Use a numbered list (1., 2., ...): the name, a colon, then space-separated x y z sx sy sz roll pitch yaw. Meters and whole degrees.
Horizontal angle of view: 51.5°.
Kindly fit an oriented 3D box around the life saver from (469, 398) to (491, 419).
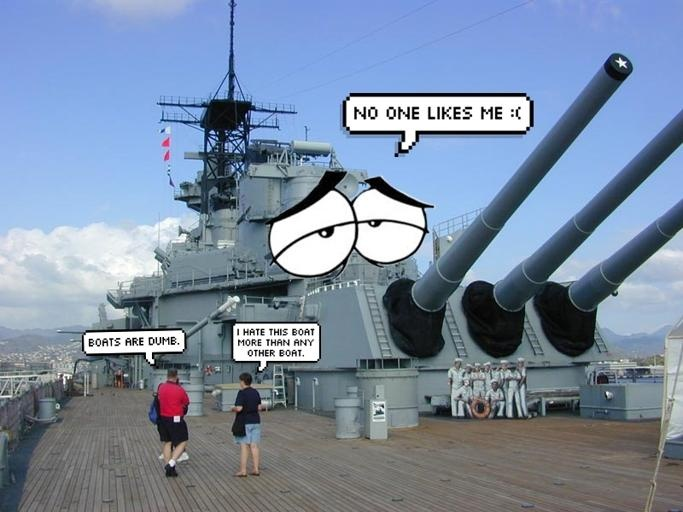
1. life saver: 4.222 4.604 21.615 0.518 0.609 0.151 -3 -6 -11

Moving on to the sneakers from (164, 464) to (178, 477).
1. sneakers: -3.310 4.112 13.715 0.271 0.233 0.187 1 -8 4

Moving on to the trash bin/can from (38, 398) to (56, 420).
1. trash bin/can: -9.132 4.718 21.915 0.535 0.665 0.574 5 4 19

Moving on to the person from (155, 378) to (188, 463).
1. person: -3.381 3.233 14.057 0.667 1.959 0.749 3 -8 -15

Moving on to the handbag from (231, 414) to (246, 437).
1. handbag: -2.015 3.249 13.701 0.196 0.485 0.325 8 -10 -40

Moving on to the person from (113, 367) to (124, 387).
1. person: -13.205 7.115 41.821 0.486 1.080 0.741 10 -20 -39

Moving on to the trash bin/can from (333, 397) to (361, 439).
1. trash bin/can: 0.093 4.230 18.619 0.787 1.027 0.866 1 -12 -5
